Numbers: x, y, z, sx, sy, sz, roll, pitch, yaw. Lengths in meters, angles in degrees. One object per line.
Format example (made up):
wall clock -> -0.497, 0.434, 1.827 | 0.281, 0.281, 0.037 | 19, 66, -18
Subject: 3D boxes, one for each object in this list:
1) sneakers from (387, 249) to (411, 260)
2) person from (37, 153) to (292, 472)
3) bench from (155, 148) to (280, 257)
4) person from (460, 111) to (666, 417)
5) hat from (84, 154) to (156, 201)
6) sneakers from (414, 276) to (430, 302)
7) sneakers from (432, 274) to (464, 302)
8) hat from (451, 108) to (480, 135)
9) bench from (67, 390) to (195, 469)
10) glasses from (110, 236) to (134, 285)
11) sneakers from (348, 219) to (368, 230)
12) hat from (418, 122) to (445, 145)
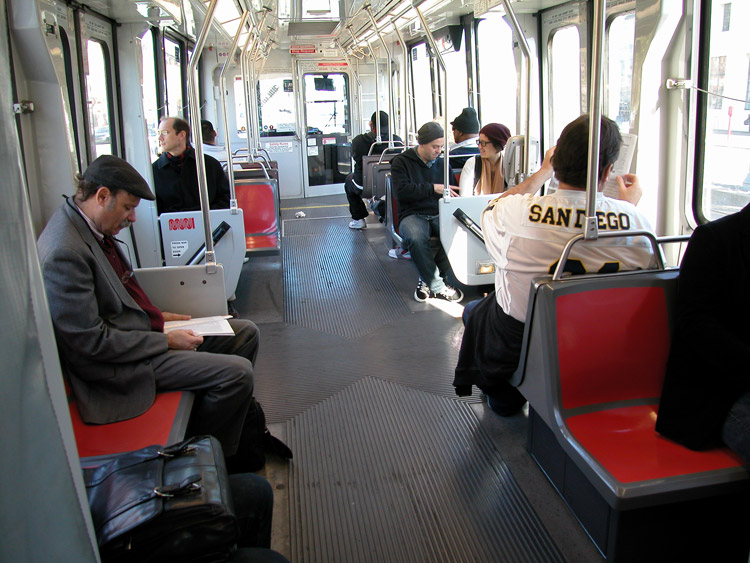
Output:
sneakers -> 0.326, -0.340, 7.343 | 0.208, 0.077, 0.160 | 3, 8, -30
person -> -1.106, 0.224, 2.939 | 1.126, 1.653, 0.697 | -2, 15, -17
bench -> -1.667, -0.667, 6.272 | 1.497, 1.071, 1.027 | -9, 12, -39
person -> 1.056, 0.053, 3.445 | 0.903, 2.146, 1.126 | 11, 24, 10
hat -> -1.270, -0.525, 2.737 | 0.346, 0.183, 0.266 | 13, 4, -18
sneakers -> 0.497, 0.088, 5.730 | 0.178, 0.207, 0.168 | 1, 16, 12
sneakers -> 0.770, 0.059, 5.716 | 0.341, 0.283, 0.231 | -1, 16, 6
hat -> 1.090, -1.902, 6.532 | 0.235, 0.233, 0.336 | -4, 45, -5
bench -> -1.081, 0.664, 2.448 | 0.387, 0.102, 0.418 | -1, 15, -17
glasses -> -1.339, -0.111, 2.903 | 0.052, 0.193, 0.182 | -25, 12, -17
sneakers -> -0.285, -0.962, 9.203 | 0.142, 0.187, 0.328 | -11, 19, -36
hat -> 0.641, -1.692, 6.255 | 0.252, 0.182, 0.261 | 4, 31, 9
